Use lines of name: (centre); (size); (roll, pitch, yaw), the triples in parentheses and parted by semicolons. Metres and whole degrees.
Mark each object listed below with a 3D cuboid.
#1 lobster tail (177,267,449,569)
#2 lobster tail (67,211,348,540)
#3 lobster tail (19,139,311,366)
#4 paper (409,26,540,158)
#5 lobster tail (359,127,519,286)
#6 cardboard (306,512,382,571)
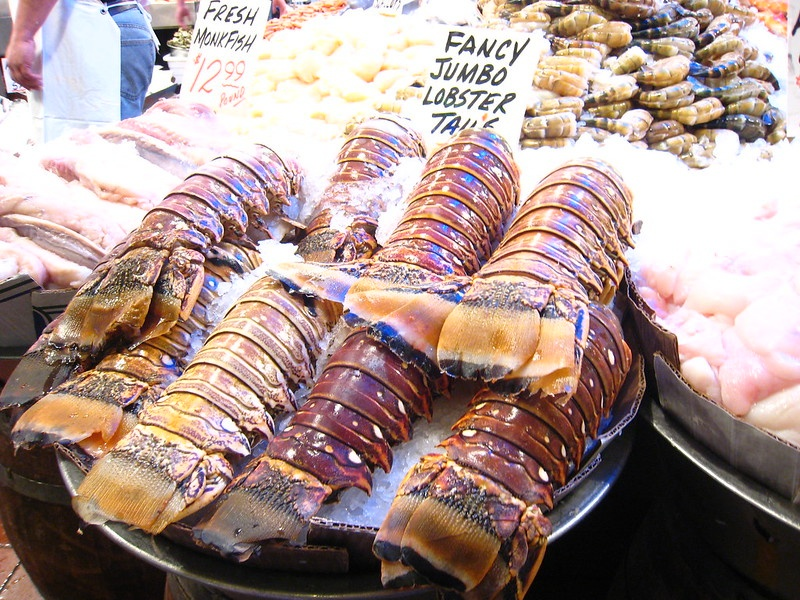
lobster tail: (-0.120, 0.294, 1.408); (0.295, 0.199, 0.915); (17, 66, 29)
lobster tail: (-0.386, 0.168, 1.556); (0.259, 0.245, 0.915); (19, 50, 19)
lobster tail: (-0.629, -0.209, 1.800); (0.310, 0.272, 0.960); (-1, 37, 37)
paper: (0.263, -0.821, 2.237); (0.430, 0.508, 0.003); (-9, 58, -22)
lobster tail: (0.150, -0.263, 1.703); (0.277, 0.165, 0.608); (14, 63, 19)
cardboard: (-0.114, 0.511, 1.317); (0.172, 0.099, 0.051); (8, 6, 2)
